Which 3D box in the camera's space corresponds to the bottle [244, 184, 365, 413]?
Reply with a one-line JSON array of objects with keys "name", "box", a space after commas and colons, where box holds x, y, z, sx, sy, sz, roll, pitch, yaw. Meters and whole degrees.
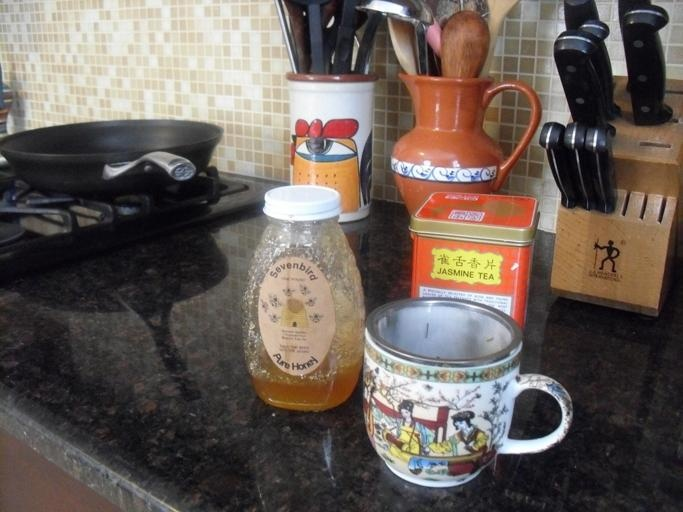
[{"name": "bottle", "box": [-0.037, 0.041, 0.535, 0.118, 0.202, 0.109, -2, 22, 1]}]

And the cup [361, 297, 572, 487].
[{"name": "cup", "box": [0.119, 0.128, 0.472, 0.181, 0.129, 0.125, 8, 21, 21]}]

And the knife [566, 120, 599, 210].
[{"name": "knife", "box": [0.279, -0.099, 0.639, 0.033, 0.109, 0.063, 13, 27, 32]}]

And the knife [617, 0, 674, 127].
[{"name": "knife", "box": [0.360, -0.218, 0.641, 0.065, 0.134, 0.151, 11, 26, 28]}]
